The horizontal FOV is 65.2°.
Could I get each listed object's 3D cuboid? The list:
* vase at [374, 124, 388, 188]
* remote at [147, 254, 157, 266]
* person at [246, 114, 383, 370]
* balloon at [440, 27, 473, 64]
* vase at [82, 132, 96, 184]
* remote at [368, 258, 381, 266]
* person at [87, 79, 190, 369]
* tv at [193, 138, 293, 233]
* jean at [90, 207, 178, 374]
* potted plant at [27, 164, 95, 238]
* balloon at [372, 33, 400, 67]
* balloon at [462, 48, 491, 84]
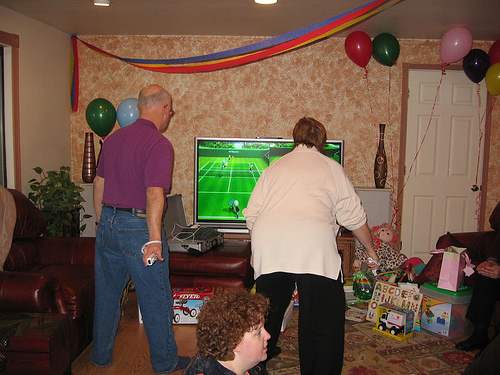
[{"bbox_3d":[1.637,-0.402,4.907,0.152,0.805,0.265,3,4,17],"label":"vase"},{"bbox_3d":[-0.605,0.454,2.456,0.035,0.066,0.023,23,-13,26],"label":"remote"},{"bbox_3d":[0.368,0.361,2.464,0.793,1.613,0.355,2,4,-1],"label":"person"},{"bbox_3d":[2.340,-1.633,4.474,0.311,0.354,0.244,3,4,25],"label":"balloon"},{"bbox_3d":[-1.973,-0.372,4.839,0.158,0.619,0.250,0,4,-24],"label":"vase"},{"bbox_3d":[0.838,0.510,2.633,0.055,0.025,0.043,28,6,3],"label":"remote"},{"bbox_3d":[-0.780,0.298,2.742,0.712,2.045,0.418,4,4,38],"label":"person"},{"bbox_3d":[-0.307,-0.089,4.806,0.048,1.009,1.331,5,-1,-30],"label":"tv"},{"bbox_3d":[-0.811,0.714,2.712,0.622,1.151,0.242,4,4,27],"label":"jean"},{"bbox_3d":[-2.132,0.099,4.697,0.728,1.001,0.856,2,9,2],"label":"potted plant"},{"bbox_3d":[1.661,-1.701,4.818,0.351,0.373,0.490,0,1,19],"label":"balloon"},{"bbox_3d":[2.713,-1.466,4.697,0.337,0.429,0.348,2,-1,36],"label":"balloon"}]
